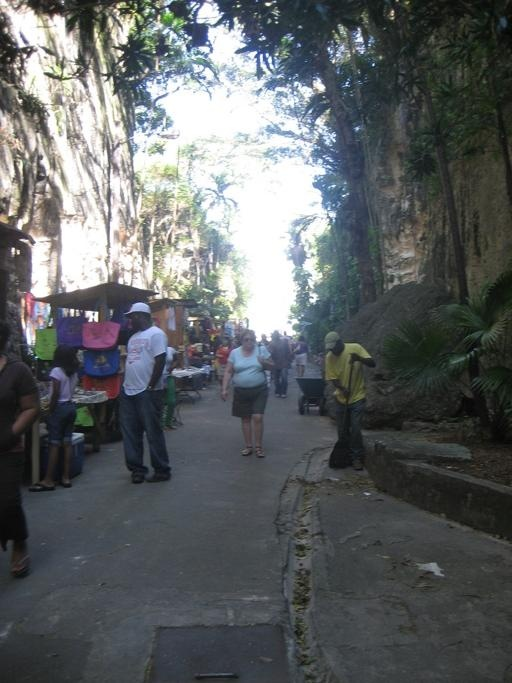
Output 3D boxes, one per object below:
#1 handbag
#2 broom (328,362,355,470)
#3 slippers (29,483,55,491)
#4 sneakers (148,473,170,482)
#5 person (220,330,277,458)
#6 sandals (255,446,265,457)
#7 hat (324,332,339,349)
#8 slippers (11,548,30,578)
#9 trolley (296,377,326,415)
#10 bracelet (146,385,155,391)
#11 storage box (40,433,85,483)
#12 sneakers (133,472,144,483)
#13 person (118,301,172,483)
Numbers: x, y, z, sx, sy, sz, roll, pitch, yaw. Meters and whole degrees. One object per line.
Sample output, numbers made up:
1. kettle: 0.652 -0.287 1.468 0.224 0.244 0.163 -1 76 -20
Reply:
1. handbag: -2.751 0.263 9.967 1.539 1.309 0.374 -1 -8 6
2. broom: 1.105 0.920 8.059 0.245 1.212 0.527 -2 -1 41
3. slippers: -2.274 1.551 6.749 0.196 0.068 0.097 7 -13 -16
4. sneakers: -1.077 1.529 7.151 0.247 0.096 0.088 11 -10 -34
5. person: -0.117 0.715 8.945 0.698 1.502 0.559 -1 -1 1
6. sandals: 0.051 1.532 8.834 0.152 0.107 0.411 0 -3 -2
7. hat: 1.012 -0.014 8.360 0.166 0.130 0.241 -13 24 42
8. slippers: -1.506 1.420 4.062 0.096 0.165 0.271 2 -22 -14
9. trolley: 1.286 1.197 14.646 0.759 0.923 1.318 1 -7 4
10. bracelet: -1.168 0.516 7.088 0.073 0.050 0.073 -8 -13 40
11. storage box: -2.177 1.355 7.438 0.480 0.525 0.796 -1 1 3
12. sneakers: -1.308 1.520 7.064 0.129 0.081 0.123 -1 -1 -17
13. person: -1.268 0.564 7.238 0.613 1.580 0.491 -2 -1 32
